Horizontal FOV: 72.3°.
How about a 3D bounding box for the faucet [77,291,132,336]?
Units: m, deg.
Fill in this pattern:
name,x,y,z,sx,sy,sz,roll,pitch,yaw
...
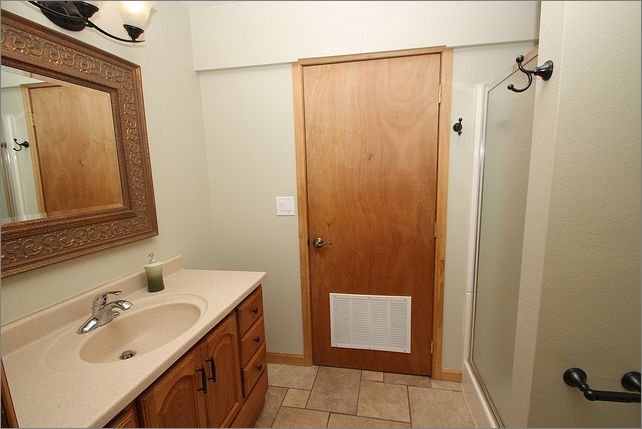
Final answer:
name,x,y,z,sx,sy,sz,roll,pitch,yaw
faucet,-1.159,0.490,2.317,0.258,0.194,0.253,-9,13,-32
